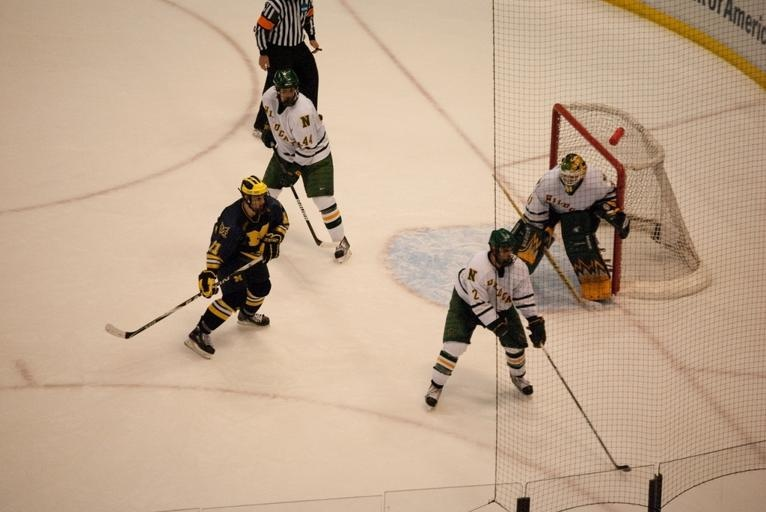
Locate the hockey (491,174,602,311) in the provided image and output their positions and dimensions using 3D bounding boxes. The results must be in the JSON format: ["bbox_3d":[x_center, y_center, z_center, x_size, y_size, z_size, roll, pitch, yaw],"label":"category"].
[{"bbox_3d":[1.389,-0.072,8.090,0.141,1.379,0.241,-34,26,1],"label":"hockey"}]

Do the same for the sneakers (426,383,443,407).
[{"bbox_3d":[0.388,1.071,7.525,0.108,0.197,0.188,6,65,5],"label":"sneakers"}]

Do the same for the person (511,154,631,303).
[{"bbox_3d":[1.607,-0.340,8.328,1.077,1.270,0.666,18,46,26],"label":"person"}]

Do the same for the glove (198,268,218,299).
[{"bbox_3d":[-1.338,0.208,7.538,0.145,0.205,0.081,-3,-3,7],"label":"glove"}]

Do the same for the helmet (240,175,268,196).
[{"bbox_3d":[-0.971,-0.524,7.380,0.184,0.135,0.134,19,44,26],"label":"helmet"}]

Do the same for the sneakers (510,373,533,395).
[{"bbox_3d":[1.089,1.009,7.682,0.107,0.204,0.133,-43,-11,0],"label":"sneakers"}]

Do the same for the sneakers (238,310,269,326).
[{"bbox_3d":[-1.042,0.514,7.926,0.284,0.121,0.103,2,63,-6],"label":"sneakers"}]

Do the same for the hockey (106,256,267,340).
[{"bbox_3d":[-1.565,0.364,7.870,1.162,0.130,0.170,-26,2,5],"label":"hockey"}]

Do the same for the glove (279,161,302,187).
[{"bbox_3d":[-0.772,-0.700,8.289,0.183,0.180,0.055,7,19,-34],"label":"glove"}]

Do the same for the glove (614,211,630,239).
[{"bbox_3d":[1.967,-0.265,8.031,0.103,0.243,0.095,-18,21,-5],"label":"glove"}]

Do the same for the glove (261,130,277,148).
[{"bbox_3d":[-0.989,-1.030,8.522,0.073,0.179,0.129,-2,-10,-39],"label":"glove"}]

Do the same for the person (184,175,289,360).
[{"bbox_3d":[-1.158,0.154,7.837,0.934,1.495,0.687,-22,45,-37],"label":"person"}]

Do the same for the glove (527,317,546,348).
[{"bbox_3d":[1.197,0.589,7.562,0.175,0.219,0.094,-1,2,31],"label":"glove"}]

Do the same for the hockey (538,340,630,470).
[{"bbox_3d":[1.562,1.203,7.605,0.113,1.153,0.170,-44,-12,8],"label":"hockey"}]

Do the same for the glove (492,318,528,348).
[{"bbox_3d":[0.959,0.576,7.456,0.264,0.287,0.159,-14,24,-13],"label":"glove"}]

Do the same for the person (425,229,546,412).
[{"bbox_3d":[0.818,0.442,7.611,0.885,1.425,0.731,3,16,8],"label":"person"}]

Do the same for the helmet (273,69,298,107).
[{"bbox_3d":[-0.795,-1.395,7.991,0.219,0.283,0.291,-10,28,-17],"label":"helmet"}]

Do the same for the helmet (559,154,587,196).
[{"bbox_3d":[1.571,-0.700,8.029,0.212,0.269,0.275,11,34,30],"label":"helmet"}]
